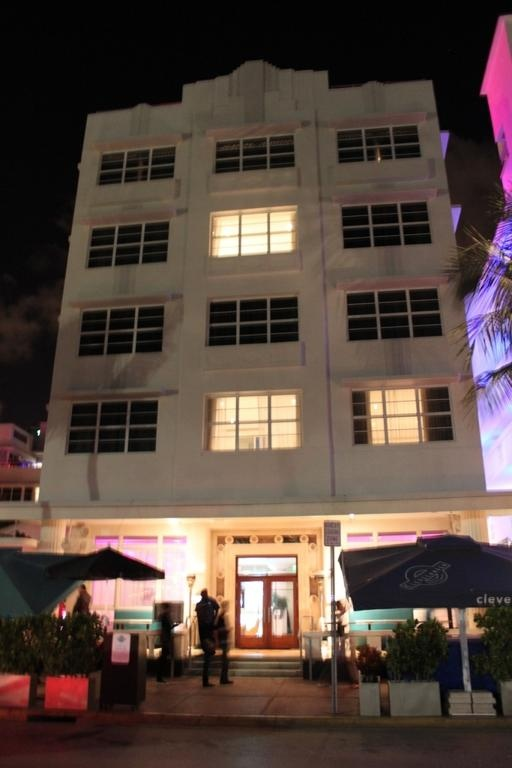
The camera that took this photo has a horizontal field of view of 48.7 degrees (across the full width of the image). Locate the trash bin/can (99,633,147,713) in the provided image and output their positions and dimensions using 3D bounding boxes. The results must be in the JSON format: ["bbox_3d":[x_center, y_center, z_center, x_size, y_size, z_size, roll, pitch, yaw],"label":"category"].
[{"bbox_3d":[-2.210,4.717,9.370,0.698,1.157,0.451,4,-22,-8],"label":"trash bin/can"}]

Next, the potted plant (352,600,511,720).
[{"bbox_3d":[2.969,4.342,9.238,1.991,1.065,1.875,-2,-13,5],"label":"potted plant"}]
